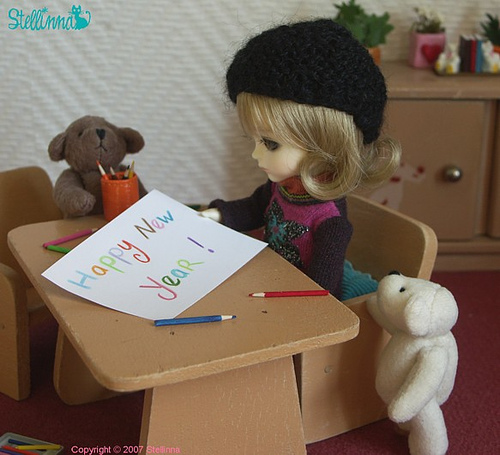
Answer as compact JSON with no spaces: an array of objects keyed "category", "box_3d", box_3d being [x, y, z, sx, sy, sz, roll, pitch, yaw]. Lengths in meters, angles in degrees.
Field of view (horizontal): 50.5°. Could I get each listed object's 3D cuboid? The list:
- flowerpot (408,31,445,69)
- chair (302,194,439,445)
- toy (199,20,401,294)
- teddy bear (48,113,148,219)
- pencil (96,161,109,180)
[{"category":"flowerpot","box_3d":[0.544,-0.558,1.664,0.117,0.119,0.117,6,24,15]},{"category":"chair","box_3d":[0.164,0.158,1.232,0.337,0.416,0.467,-8,21,-19]},{"category":"toy","box_3d":[0.116,-0.161,1.087,0.268,0.559,0.299,-16,26,-30]},{"category":"teddy bear","box_3d":[-0.352,-0.123,1.241,0.228,0.271,0.225,-2,22,-12]},{"category":"pencil","box_3d":[-0.329,-0.129,1.176,0.009,0.009,0.070,-40,66,15]}]
